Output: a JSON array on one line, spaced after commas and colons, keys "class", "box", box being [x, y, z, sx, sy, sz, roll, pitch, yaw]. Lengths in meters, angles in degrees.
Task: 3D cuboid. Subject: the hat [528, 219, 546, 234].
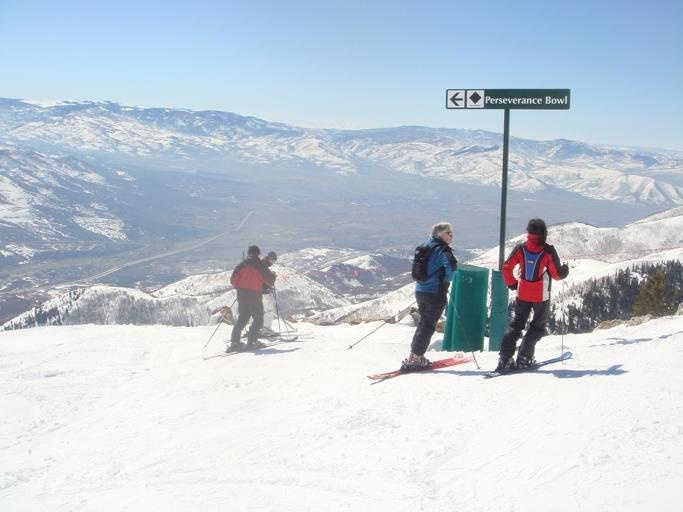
[{"class": "hat", "box": [3.055, -0.457, 9.400, 0.281, 0.261, 0.388, 4, 7, 14]}]

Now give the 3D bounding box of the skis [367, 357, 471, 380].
[{"class": "skis", "box": [1.395, 1.986, 10.501, 2.019, 0.116, 0.264, -4, 21, -29]}]

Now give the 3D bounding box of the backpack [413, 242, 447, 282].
[{"class": "backpack", "box": [1.418, 0.119, 10.084, 0.464, 0.655, 0.284, 3, 7, 6]}]

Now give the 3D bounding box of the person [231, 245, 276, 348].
[{"class": "person", "box": [-2.016, 0.891, 13.091, 1.039, 2.241, 0.506, -2, 8, -31]}]

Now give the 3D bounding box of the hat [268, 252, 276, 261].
[{"class": "hat", "box": [-1.598, 0.013, 13.801, 0.202, 0.175, 0.228, -2, 1, -2]}]

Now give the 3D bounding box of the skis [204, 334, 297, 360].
[{"class": "skis", "box": [-2.047, 2.032, 13.252, 1.916, 0.184, 0.126, -8, -22, -8]}]

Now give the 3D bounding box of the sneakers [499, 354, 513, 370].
[{"class": "sneakers", "box": [2.609, 1.704, 9.618, 0.212, 0.238, 0.255, 0, -32, 5]}]

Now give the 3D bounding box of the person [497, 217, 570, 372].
[{"class": "person", "box": [3.014, 0.653, 9.581, 0.930, 2.510, 0.464, 4, 7, 11]}]
